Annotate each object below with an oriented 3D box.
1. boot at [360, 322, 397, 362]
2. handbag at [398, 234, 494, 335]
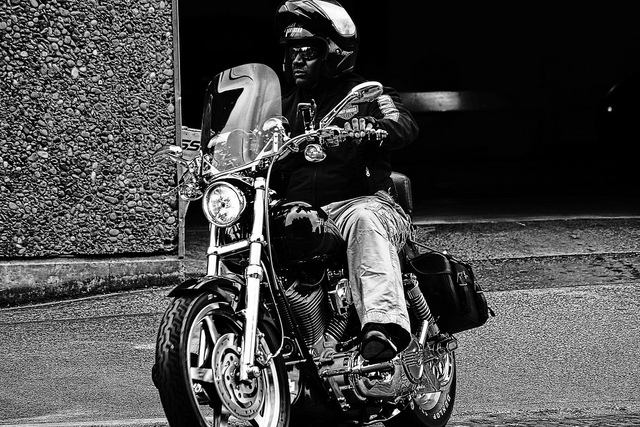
[{"bbox_3d":[0.403,0.890,4.977,0.250,0.262,0.127,0,11,1],"label":"boot"},{"bbox_3d":[1.050,0.543,6.115,0.496,0.905,0.652,-25,-33,24],"label":"handbag"}]
